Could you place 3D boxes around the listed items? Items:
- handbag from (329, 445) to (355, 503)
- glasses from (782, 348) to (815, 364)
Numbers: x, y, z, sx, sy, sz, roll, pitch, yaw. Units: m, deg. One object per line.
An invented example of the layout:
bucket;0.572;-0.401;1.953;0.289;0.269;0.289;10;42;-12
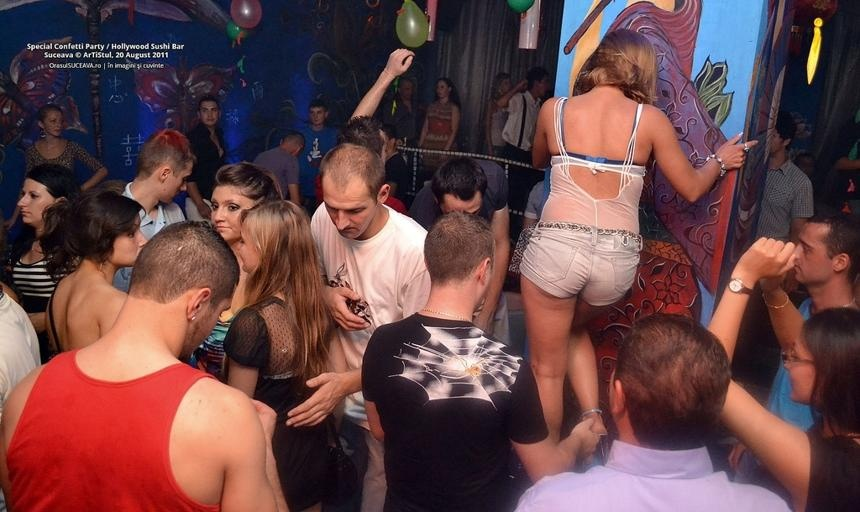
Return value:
handbag;-0.518;1.267;3.462;0.157;0.316;0.176;2;12;0
glasses;1.788;0.487;2.845;0.102;0.029;0.100;4;3;8
